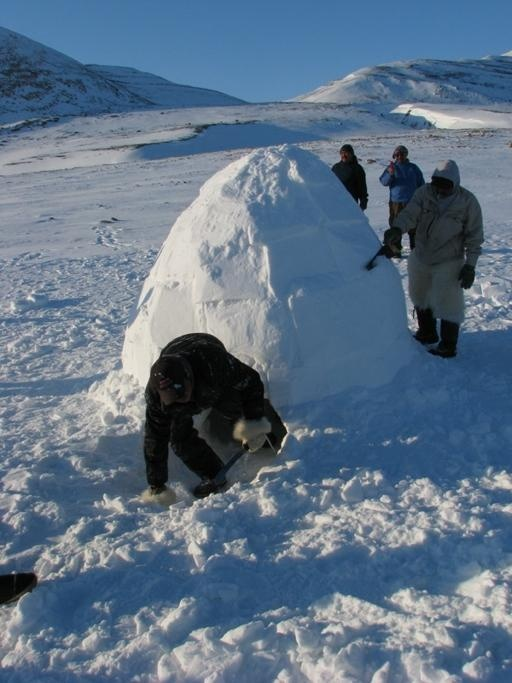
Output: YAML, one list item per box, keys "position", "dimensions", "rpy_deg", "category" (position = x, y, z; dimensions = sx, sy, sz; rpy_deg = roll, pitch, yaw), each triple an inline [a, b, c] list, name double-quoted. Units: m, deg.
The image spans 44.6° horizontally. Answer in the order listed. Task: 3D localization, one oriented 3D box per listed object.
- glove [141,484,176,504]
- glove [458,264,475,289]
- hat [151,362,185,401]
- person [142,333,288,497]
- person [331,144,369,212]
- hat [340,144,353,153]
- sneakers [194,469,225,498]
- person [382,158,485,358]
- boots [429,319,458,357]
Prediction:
- position: [-0.493, 0.773, 3.153]
  dimensions: [0.118, 0.046, 0.135]
  rpy_deg: [1, -1, -4]
  category: "glove"
- position: [1.374, -0.412, 4.027]
  dimensions: [0.121, 0.137, 0.051]
  rpy_deg: [-3, 6, 12]
  category: "glove"
- position: [-0.367, 0.167, 2.808]
  dimensions: [0.150, 0.166, 0.180]
  rpy_deg: [0, 10, -6]
  category: "hat"
- position: [-0.189, 0.388, 3.224]
  dimensions: [0.583, 0.659, 0.984]
  rpy_deg: [-6, -20, 19]
  category: "person"
- position: [1.007, -1.741, 6.639]
  dimensions: [0.372, 0.677, 1.160]
  rpy_deg: [1, 14, 8]
  category: "person"
- position: [0.954, -1.996, 6.492]
  dimensions: [0.149, 0.097, 0.139]
  rpy_deg: [6, 14, 14]
  category: "hat"
- position: [-0.236, 0.749, 3.307]
  dimensions: [0.089, 0.078, 0.209]
  rpy_deg: [2, 11, 44]
  category: "sneakers"
- position: [1.220, -0.559, 4.218]
  dimensions: [0.561, 1.266, 0.614]
  rpy_deg: [3, 16, 15]
  category: "person"
- position: [1.282, -0.021, 4.233]
  dimensions: [0.225, 0.270, 0.175]
  rpy_deg: [-7, 23, -11]
  category: "boots"
